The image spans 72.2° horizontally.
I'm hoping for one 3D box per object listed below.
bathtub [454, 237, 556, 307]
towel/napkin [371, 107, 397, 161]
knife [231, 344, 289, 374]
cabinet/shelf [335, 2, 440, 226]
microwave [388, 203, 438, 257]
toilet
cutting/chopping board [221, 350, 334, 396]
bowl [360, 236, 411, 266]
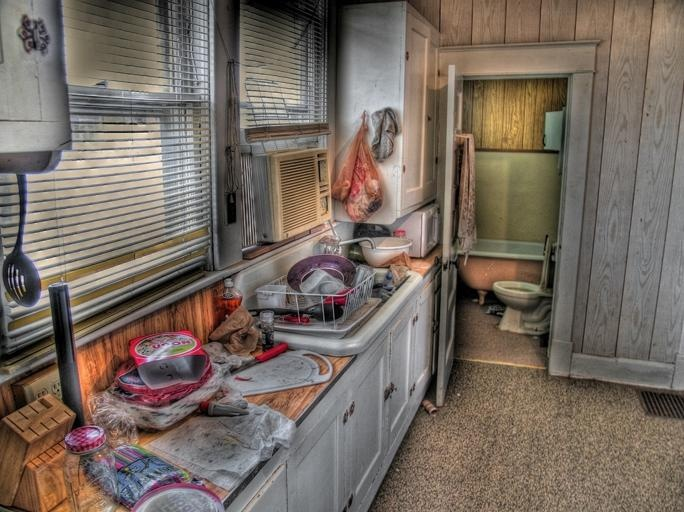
[{"bbox_3d":[1.975,0.196,5.445,1.181,0.615,0.751,2,10,32],"label":"bathtub"},{"bbox_3d":[0.270,-0.746,2.893,0.172,0.321,0.069,1,-2,11],"label":"towel/napkin"},{"bbox_3d":[-0.346,0.433,1.943,0.031,0.028,0.233,1,16,32],"label":"knife"},{"bbox_3d":[0.261,-0.903,2.986,0.488,1.565,1.222,2,15,16],"label":"cabinet/shelf"},{"bbox_3d":[0.555,-0.194,3.543,0.321,0.347,0.523,4,13,21],"label":"microwave"},{"bbox_3d":[1.850,0.234,4.793,0.570,0.866,0.827,6,16,23],"label":"toilet"},{"bbox_3d":[-0.248,0.448,1.886,0.419,0.050,0.307,-5,16,-16],"label":"cutting/chopping board"},{"bbox_3d":[0.274,-0.035,3.062,0.220,0.094,0.231,-5,11,1],"label":"bowl"}]
